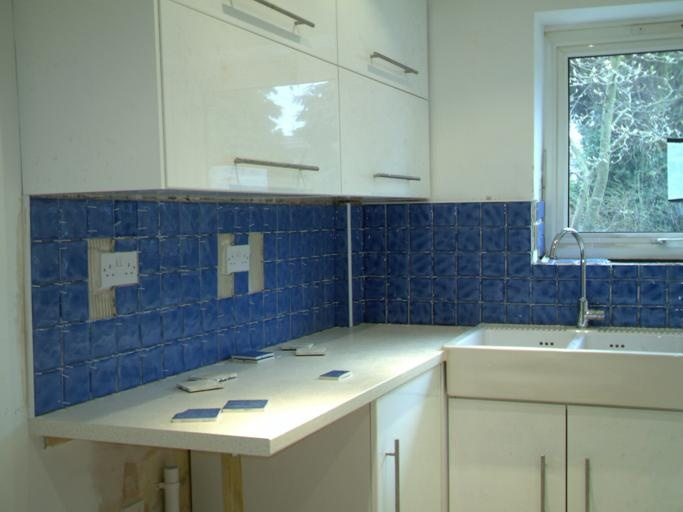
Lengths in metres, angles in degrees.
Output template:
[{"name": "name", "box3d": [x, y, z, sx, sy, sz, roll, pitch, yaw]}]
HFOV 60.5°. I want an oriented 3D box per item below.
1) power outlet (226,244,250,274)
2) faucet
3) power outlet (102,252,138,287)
[{"name": "power outlet", "box3d": [-0.434, 0.007, 2.437, 0.024, 0.123, 0.140, -11, -11, 32]}, {"name": "faucet", "box3d": [1.163, 0.107, 2.901, 0.279, 0.502, 0.242, -5, -9, -8]}, {"name": "power outlet", "box3d": [-0.756, 0.044, 1.986, 0.030, 0.124, 0.145, -12, -11, 35]}]
